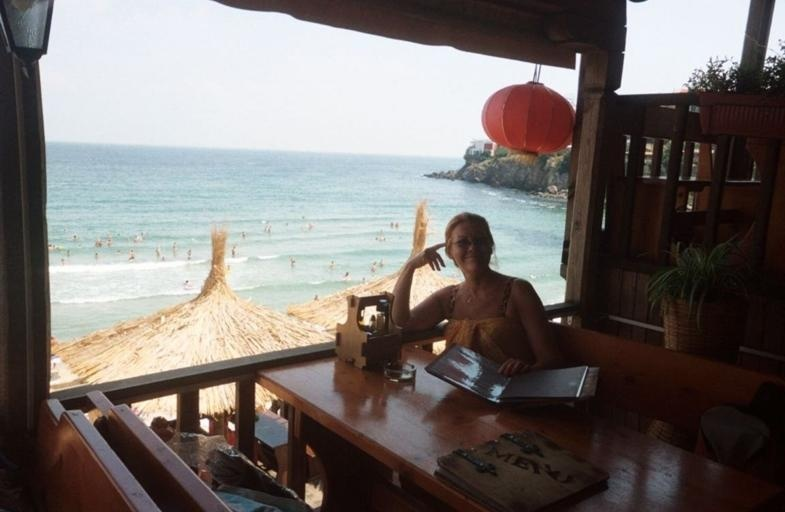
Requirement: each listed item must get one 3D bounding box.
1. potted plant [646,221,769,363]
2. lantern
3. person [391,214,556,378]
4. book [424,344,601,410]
[{"bbox_3d":[1.903,0.309,3.077,0.575,0.669,0.560,-6,4,23],"label":"potted plant"},{"bbox_3d":[1.224,-1.232,4.714,0.986,0.660,0.794,-1,13,-34],"label":"lantern"},{"bbox_3d":[0.451,0.302,3.025,0.927,1.061,0.682,-13,-16,31],"label":"person"},{"bbox_3d":[0.563,0.595,2.449,0.591,0.114,0.351,2,11,32],"label":"book"}]
